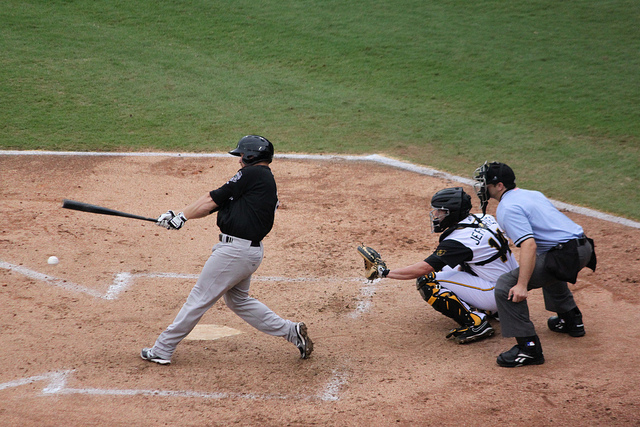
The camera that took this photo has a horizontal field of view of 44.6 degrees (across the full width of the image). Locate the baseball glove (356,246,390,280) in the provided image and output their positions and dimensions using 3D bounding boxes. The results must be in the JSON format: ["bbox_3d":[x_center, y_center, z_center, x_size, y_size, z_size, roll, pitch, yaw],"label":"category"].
[{"bbox_3d":[0.787,0.724,11.670,0.416,0.229,0.802,22,31,29],"label":"baseball glove"}]

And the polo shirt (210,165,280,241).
[{"bbox_3d":[-1.354,-0.195,11.439,1.398,1.081,0.904,1,84,-8],"label":"polo shirt"}]
